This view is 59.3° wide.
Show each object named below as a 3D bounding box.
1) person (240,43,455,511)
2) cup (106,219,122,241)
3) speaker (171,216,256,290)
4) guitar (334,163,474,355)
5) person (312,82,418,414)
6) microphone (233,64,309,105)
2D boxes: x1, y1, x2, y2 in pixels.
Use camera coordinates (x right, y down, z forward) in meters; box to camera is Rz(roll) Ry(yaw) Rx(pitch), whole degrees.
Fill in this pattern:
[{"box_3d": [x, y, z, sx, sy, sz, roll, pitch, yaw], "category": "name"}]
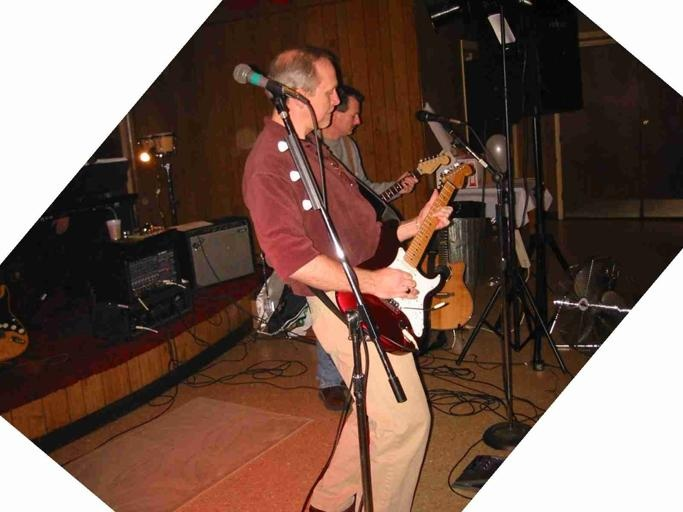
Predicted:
[{"box_3d": [-0.005, 0.205, 2.687, 0.745, 2.189, 0.859, -4, 15, 7], "category": "person"}, {"box_3d": [-1.814, -0.220, 4.788, 0.111, 0.138, 0.282, -12, 17, -20], "category": "cup"}, {"box_3d": [-1.142, -0.012, 5.345, 0.491, 0.440, 0.206, -24, 21, -39], "category": "speaker"}, {"box_3d": [0.333, -0.009, 3.005, 0.119, 0.399, 1.039, -18, 41, 56], "category": "guitar"}, {"box_3d": [0.087, -0.078, 4.455, 0.215, 2.288, 0.850, -10, 3, 26], "category": "person"}, {"box_3d": [-0.273, -0.653, 2.293, 0.256, 0.167, 0.196, -9, 16, -7], "category": "microphone"}]
